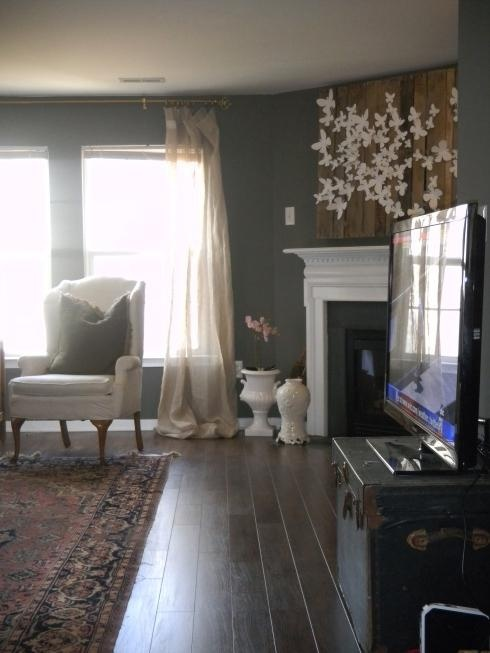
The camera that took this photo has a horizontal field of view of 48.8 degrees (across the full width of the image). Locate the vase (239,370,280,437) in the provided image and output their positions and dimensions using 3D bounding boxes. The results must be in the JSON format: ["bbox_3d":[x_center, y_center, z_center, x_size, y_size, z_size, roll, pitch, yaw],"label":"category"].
[{"bbox_3d":[0.108,0.544,3.880,0.216,0.491,0.250,1,3,4],"label":"vase"}]

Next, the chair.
[{"bbox_3d":[-1.009,0.223,3.348,0.738,1.123,0.750,0,0,7],"label":"chair"}]

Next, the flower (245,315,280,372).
[{"bbox_3d":[0.140,0.119,4.025,0.257,0.607,0.219,2,5,33],"label":"flower"}]

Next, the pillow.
[{"bbox_3d":[-0.973,0.066,3.359,0.290,0.472,0.175,2,-26,-1],"label":"pillow"}]
